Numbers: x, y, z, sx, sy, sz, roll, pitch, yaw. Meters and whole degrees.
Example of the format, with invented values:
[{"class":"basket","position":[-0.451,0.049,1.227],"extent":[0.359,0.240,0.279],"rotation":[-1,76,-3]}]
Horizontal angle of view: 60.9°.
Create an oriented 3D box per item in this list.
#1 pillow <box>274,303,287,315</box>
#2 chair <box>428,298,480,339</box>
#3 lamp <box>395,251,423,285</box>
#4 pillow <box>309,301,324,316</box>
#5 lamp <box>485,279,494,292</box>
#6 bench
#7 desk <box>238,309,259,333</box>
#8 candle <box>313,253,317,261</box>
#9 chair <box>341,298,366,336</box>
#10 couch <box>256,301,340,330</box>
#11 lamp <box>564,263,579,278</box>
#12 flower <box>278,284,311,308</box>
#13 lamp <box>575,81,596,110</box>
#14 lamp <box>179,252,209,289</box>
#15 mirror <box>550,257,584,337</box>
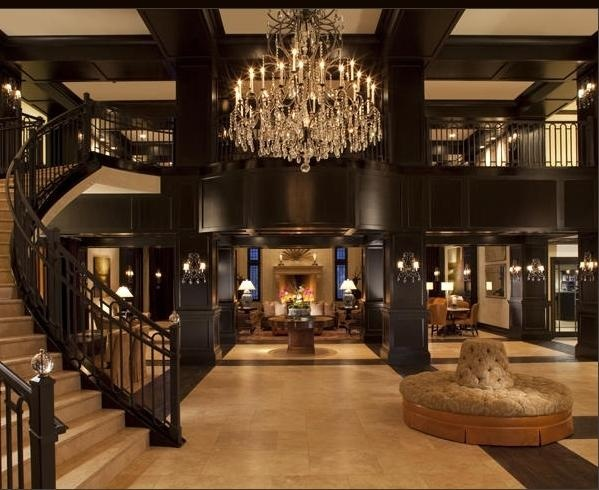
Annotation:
[{"class":"pillow","position":[-0.595,2.043,16.135],"extent":[0.353,0.387,0.368],"rotation":[1,-11,-6]},{"class":"chair","position":[4.460,2.109,15.169],"extent":[1.673,1.033,1.777],"rotation":[0,1,-2]},{"class":"lamp","position":[2.203,0.431,10.215],"extent":[0.419,0.577,0.117],"rotation":[0,2,24]},{"class":"pillow","position":[0.537,1.977,15.742],"extent":[0.562,0.612,0.322],"rotation":[-1,-10,10]},{"class":"lamp","position":[5.957,1.275,15.895],"extent":[0.209,0.236,0.216],"rotation":[0,1,4]},{"class":"bench","position":[2.304,1.759,6.292],"extent":[2.015,1.203,0.899],"rotation":[0,0,11]},{"class":"desk","position":[-1.675,2.372,16.374],"extent":[0.614,0.803,2.439],"rotation":[0,-1,-8]},{"class":"candle","position":[0.629,0.465,19.755],"extent":[0.160,0.309,0.070],"rotation":[0,0,-41]},{"class":"chair","position":[1.793,2.273,16.255],"extent":[0.538,0.368,1.202],"rotation":[8,-32,23]},{"class":"couch","position":[-0.078,2.280,16.017],"extent":[2.320,1.163,0.823],"rotation":[1,-15,-8]},{"class":"lamp","position":[7.868,0.740,14.417],"extent":[0.356,0.403,0.705],"rotation":[3,-3,15]},{"class":"flower","position":[-0.186,1.339,12.721],"extent":[0.949,0.627,0.864],"rotation":[-2,-6,14]},{"class":"lamp","position":[6.118,-3.161,10.788],"extent":[0.170,0.531,0.645],"rotation":[0,0,5]},{"class":"lamp","position":[-2.154,0.490,10.400],"extent":[0.444,0.636,0.415],"rotation":[-4,12,-22]},{"class":"mirror","position":[7.548,1.537,14.341],"extent":[0.995,2.184,0.077],"rotation":[2,-1,-17]}]
